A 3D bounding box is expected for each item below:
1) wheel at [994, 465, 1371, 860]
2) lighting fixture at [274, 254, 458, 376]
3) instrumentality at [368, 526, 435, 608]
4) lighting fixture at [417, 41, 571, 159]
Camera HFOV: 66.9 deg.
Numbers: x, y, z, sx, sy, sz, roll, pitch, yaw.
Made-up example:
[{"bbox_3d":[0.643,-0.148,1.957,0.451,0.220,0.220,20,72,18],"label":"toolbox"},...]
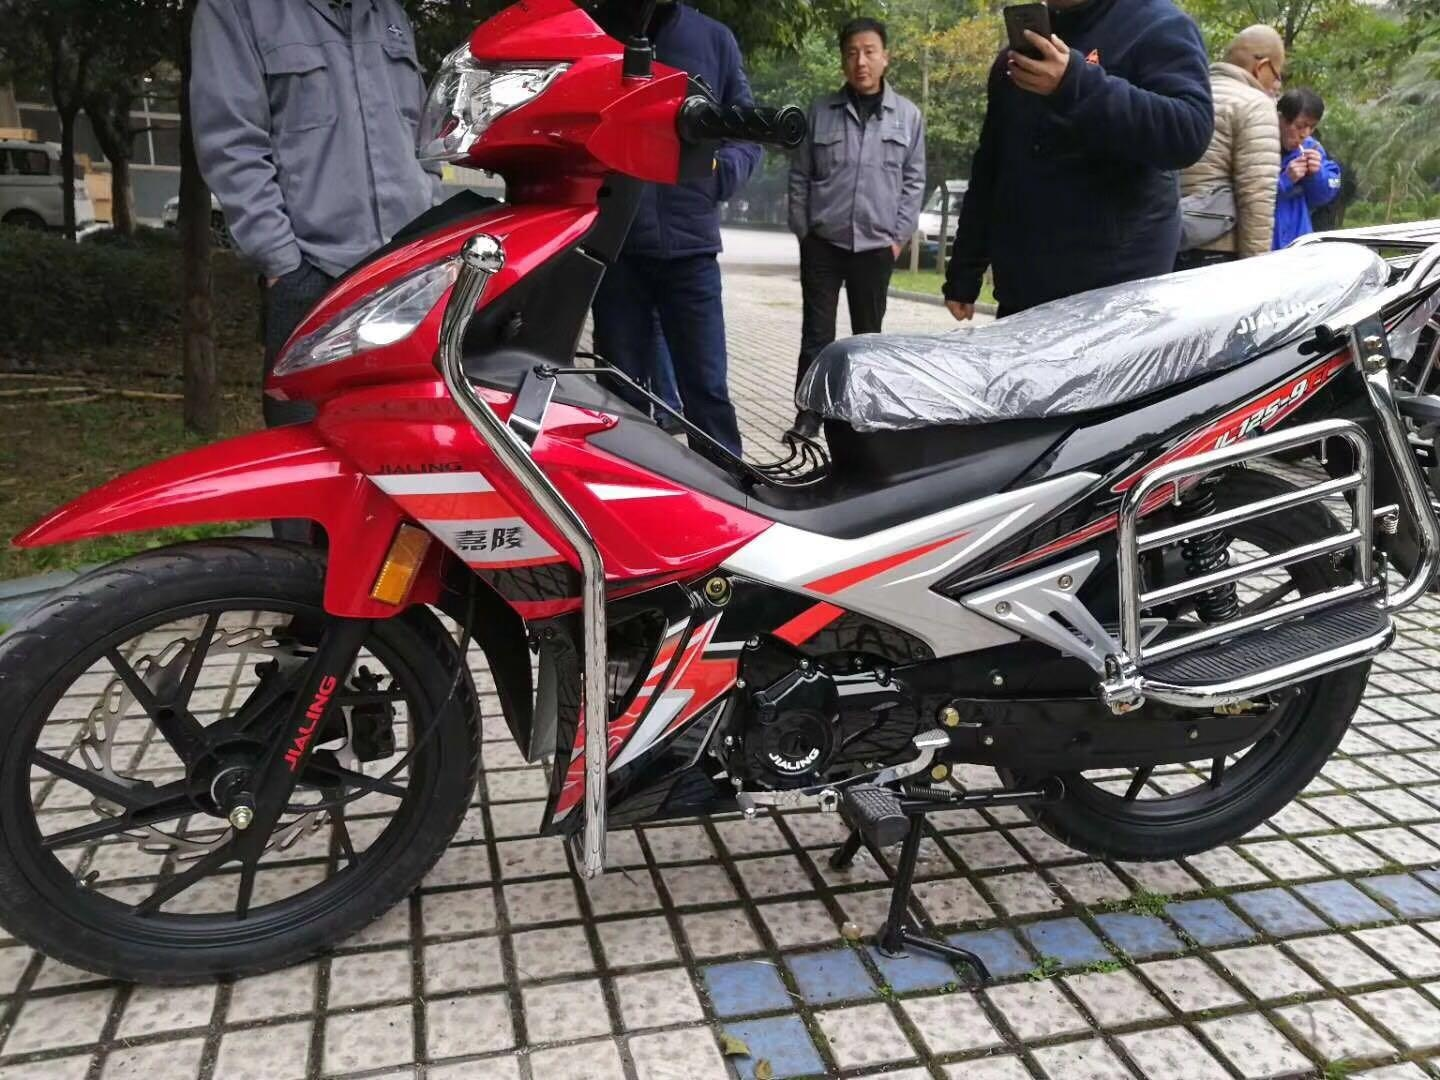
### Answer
[{"bbox_3d":[1.127,0.290,2.700,1.154,0.963,0.209,-13,12,-7],"label":"wheel"},{"bbox_3d":[-0.704,-0.455,2.267,0.428,0.132,0.122,-29,26,-22],"label":"lighting fixture"},{"bbox_3d":[-0.677,0.052,2.344,0.038,0.172,0.129,24,32,36],"label":"instrumentality"},{"bbox_3d":[-0.486,-0.906,2.285,0.311,0.229,0.160,18,29,32],"label":"lighting fixture"}]
